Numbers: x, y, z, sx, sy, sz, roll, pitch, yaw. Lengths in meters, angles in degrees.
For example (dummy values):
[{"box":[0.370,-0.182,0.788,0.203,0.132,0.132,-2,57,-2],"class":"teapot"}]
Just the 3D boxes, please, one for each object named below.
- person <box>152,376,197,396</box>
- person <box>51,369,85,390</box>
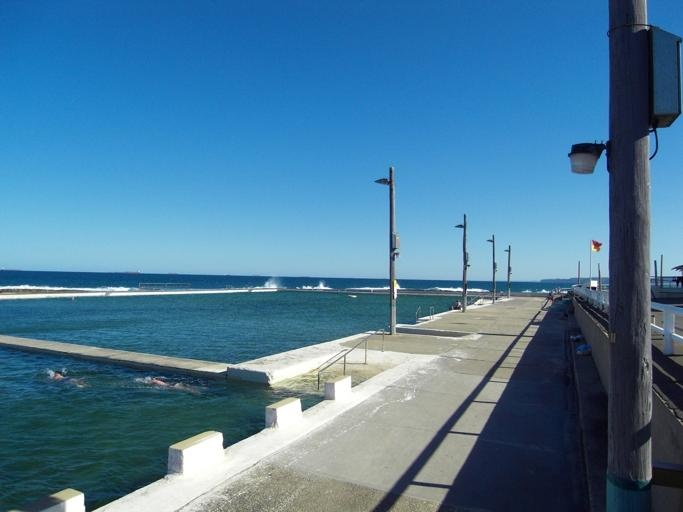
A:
[{"box":[-5.130,3.906,16.002,1.354,0.215,0.505,9,6,16],"class":"person"},{"box":[-8.776,3.896,16.799,1.122,0.228,0.564,7,8,11],"class":"person"}]
